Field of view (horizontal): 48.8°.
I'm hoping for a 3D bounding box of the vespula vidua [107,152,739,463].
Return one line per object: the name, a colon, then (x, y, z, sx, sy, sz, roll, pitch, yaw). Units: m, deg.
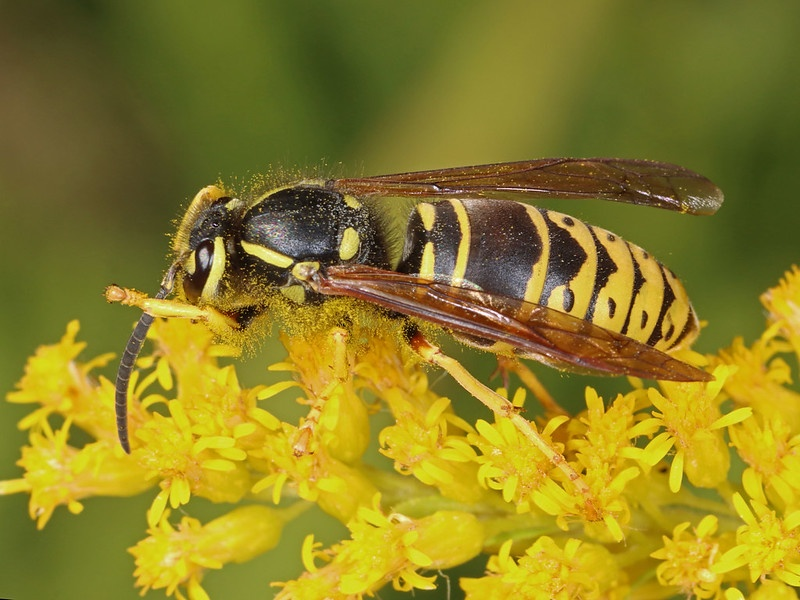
vespula vidua: (0.066, -0.087, 3.310, 2.306, 0.648, 1.293, 4, 54, 8)
